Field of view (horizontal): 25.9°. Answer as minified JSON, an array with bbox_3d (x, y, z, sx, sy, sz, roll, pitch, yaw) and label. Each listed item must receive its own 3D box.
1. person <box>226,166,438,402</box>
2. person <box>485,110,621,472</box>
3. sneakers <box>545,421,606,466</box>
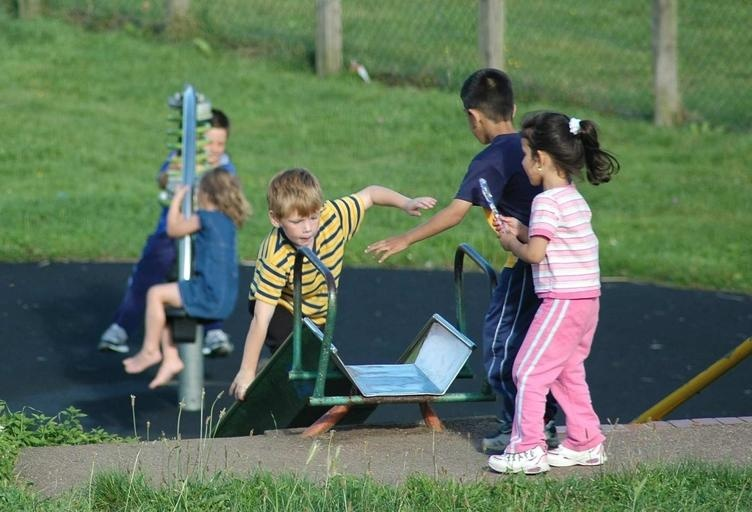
[{"bbox_3d":[-0.419,0.367,15.931,1.536,2.360,0.928,-30,66,-33],"label":"person"},{"bbox_3d":[1.543,0.342,13.966,1.073,2.955,1.190,5,17,2],"label":"person"},{"bbox_3d":[1.724,1.722,14.158,0.516,0.245,0.204,1,-1,-1],"label":"sneakers"}]
